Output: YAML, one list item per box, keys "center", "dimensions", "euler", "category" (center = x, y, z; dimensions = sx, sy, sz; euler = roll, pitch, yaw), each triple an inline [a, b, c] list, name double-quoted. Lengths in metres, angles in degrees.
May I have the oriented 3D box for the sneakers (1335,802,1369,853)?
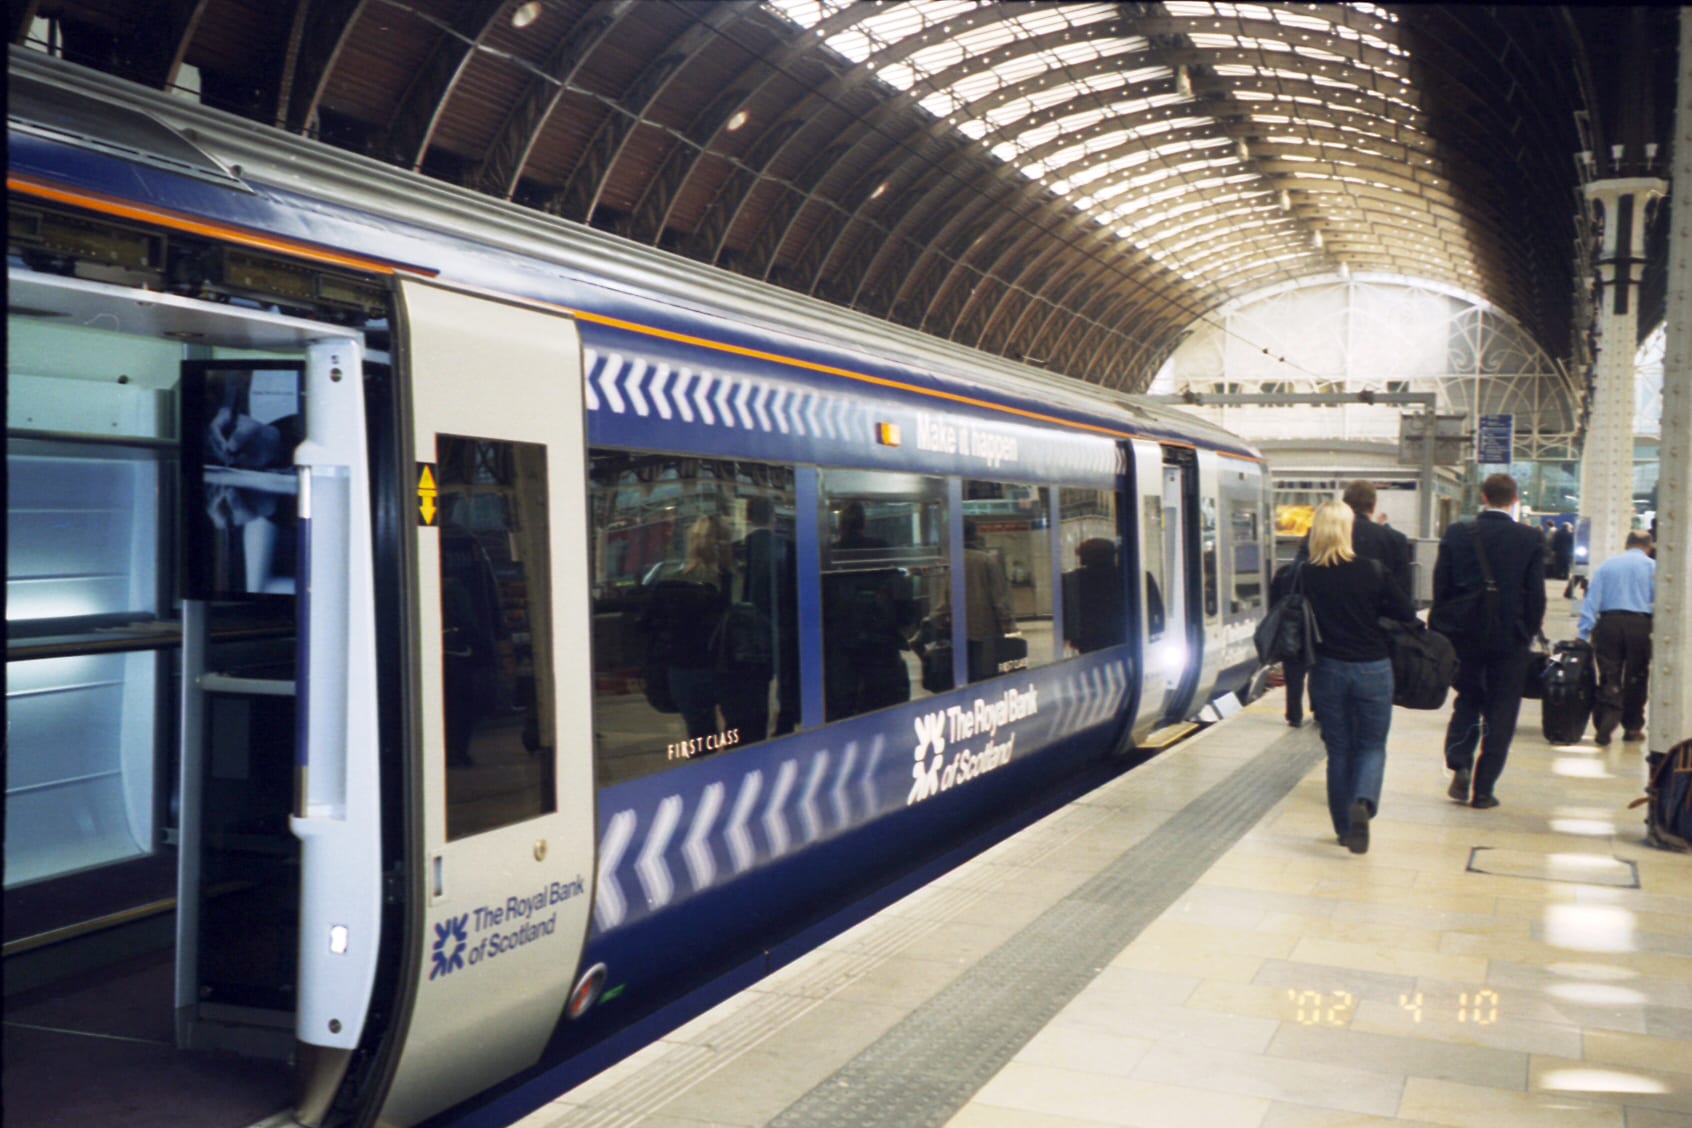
- center: [3.422, 1.785, 8.310]
  dimensions: [0.147, 0.401, 0.184]
  euler: [-3, -3, 25]
  category: "sneakers"

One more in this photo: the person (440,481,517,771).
- center: [-1.486, 0.253, 4.944]
  dimensions: [0.107, 1.082, 0.380]
  euler: [2, 4, 23]
  category: "person"

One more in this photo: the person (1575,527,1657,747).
- center: [7.503, 0.833, 12.016]
  dimensions: [0.566, 1.953, 0.837]
  euler: [2, 4, 31]
  category: "person"

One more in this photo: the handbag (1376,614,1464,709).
- center: [3.942, 0.707, 8.517]
  dimensions: [0.625, 0.610, 0.457]
  euler: [2, 0, 7]
  category: "handbag"

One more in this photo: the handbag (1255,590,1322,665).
- center: [3.083, 0.482, 8.625]
  dimensions: [0.408, 0.640, 0.619]
  euler: [11, 11, 14]
  category: "handbag"

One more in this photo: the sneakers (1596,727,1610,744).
- center: [7.480, 1.710, 12.187]
  dimensions: [0.145, 0.162, 0.157]
  euler: [0, 5, 23]
  category: "sneakers"

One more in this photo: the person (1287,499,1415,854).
- center: [3.406, 0.782, 8.318]
  dimensions: [0.744, 2.371, 0.318]
  euler: [2, 3, 19]
  category: "person"
